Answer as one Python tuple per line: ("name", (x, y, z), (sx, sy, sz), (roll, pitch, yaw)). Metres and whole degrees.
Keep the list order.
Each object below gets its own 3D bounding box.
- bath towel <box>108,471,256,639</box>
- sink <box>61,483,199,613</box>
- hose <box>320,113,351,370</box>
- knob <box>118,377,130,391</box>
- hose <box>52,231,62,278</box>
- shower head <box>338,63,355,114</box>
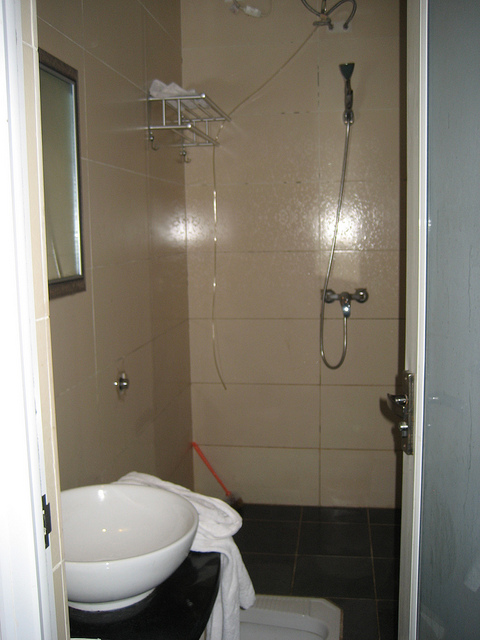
("bath towel", (-0.116, 0.446, 1.388), (0.265, 0.493, 0.376), (-1, 2, 14))
("sink", (-0.217, 0.433, 1.104), (0.259, 0.109, 0.349), (-2, 7, -22))
("hose", (0.446, -0.345, 2.619), (0.125, 1.194, 0.136), (1, 5, 10))
("knob", (-0.376, 0.208, 1.783), (0.026, 0.041, 0.032), (6, -2, 4))
("hose", (-0.449, -0.146, 1.348), (0.007, 0.075, 0.009), (0, 18, 6))
("shower head", (0.475, -1.014, 2.428), (0.070, 0.044, 0.222), (-9, -44, 7))
